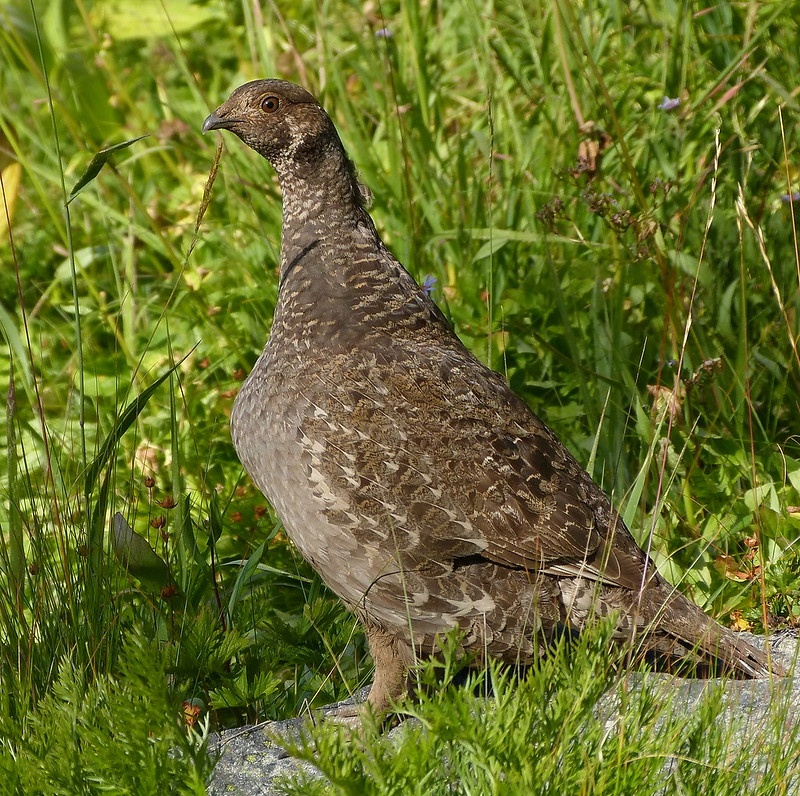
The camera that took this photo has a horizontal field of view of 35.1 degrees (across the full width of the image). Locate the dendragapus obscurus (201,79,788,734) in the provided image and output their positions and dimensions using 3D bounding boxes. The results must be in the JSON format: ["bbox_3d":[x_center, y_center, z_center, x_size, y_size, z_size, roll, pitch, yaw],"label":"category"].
[{"bbox_3d":[0.235,0.065,3.479,1.531,1.810,0.912,3,-1,6],"label":"dendragapus obscurus"}]
